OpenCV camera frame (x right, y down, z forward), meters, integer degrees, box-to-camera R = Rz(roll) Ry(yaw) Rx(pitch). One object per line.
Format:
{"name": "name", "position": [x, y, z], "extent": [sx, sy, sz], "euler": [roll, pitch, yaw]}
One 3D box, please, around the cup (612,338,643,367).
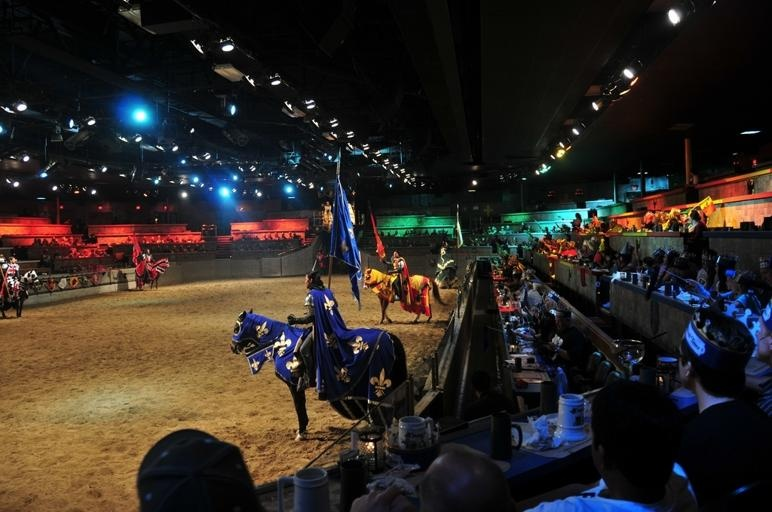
{"name": "cup", "position": [2.981, 1.167, 6.544], "extent": [0.355, 0.320, 0.301], "euler": [0, 1, 8]}

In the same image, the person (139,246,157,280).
{"name": "person", "position": [-11.217, 0.504, 25.071], "extent": [0.635, 1.338, 2.078], "euler": [-4, 8, -24]}

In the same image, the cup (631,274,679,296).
{"name": "cup", "position": [4.531, 0.471, 8.963], "extent": [0.566, 0.330, 0.265], "euler": [-2, 4, 25]}

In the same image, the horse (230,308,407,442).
{"name": "horse", "position": [-1.056, 1.861, 8.435], "extent": [2.876, 1.915, 0.856], "euler": [-1, -1, 2]}

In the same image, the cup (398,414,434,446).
{"name": "cup", "position": [0.262, 1.538, 4.735], "extent": [0.256, 0.178, 0.264], "euler": [-3, -6, 0]}

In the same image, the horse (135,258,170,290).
{"name": "horse", "position": [-10.913, 0.726, 24.763], "extent": [2.117, 1.411, 0.632], "euler": [2, 10, 20]}

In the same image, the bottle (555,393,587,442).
{"name": "bottle", "position": [1.726, 1.512, 5.105], "extent": [0.373, 0.403, 0.370], "euler": [-1, 2, 9]}

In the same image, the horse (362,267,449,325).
{"name": "horse", "position": [0.524, 1.179, 15.517], "extent": [2.466, 1.602, 0.805], "euler": [1, -4, -15]}
